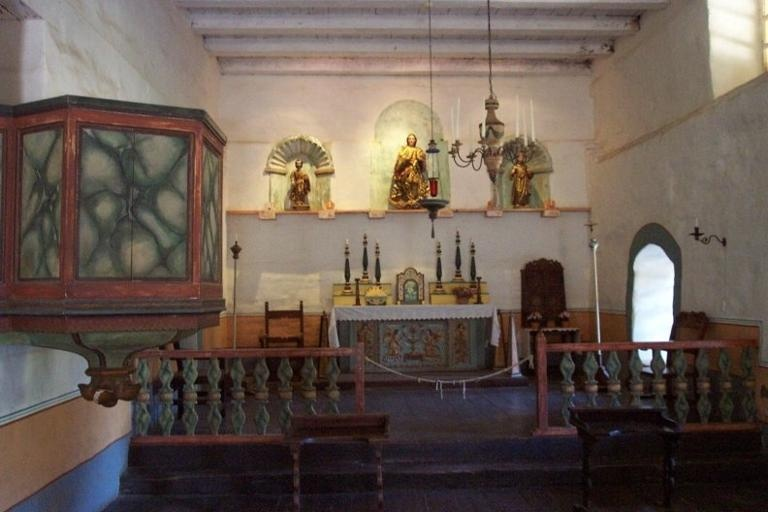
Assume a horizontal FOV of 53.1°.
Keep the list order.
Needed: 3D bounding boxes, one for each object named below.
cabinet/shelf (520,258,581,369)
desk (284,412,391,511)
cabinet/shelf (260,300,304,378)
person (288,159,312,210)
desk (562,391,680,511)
[{"bbox_3d":[3.189,1.101,14.580,1.018,2.127,0.706,-6,-5,33],"label":"cabinet/shelf"},{"bbox_3d":[-0.566,2.628,9.144,1.393,1.339,1.072,0,-7,-2],"label":"desk"},{"bbox_3d":[-1.828,1.518,14.008,0.817,1.298,0.930,0,-6,3],"label":"cabinet/shelf"},{"bbox_3d":[-1.603,-1.355,14.594,0.430,1.026,0.487,1,-5,-8],"label":"person"},{"bbox_3d":[2.805,2.274,9.202,1.564,1.467,1.151,1,-19,-2],"label":"desk"}]
